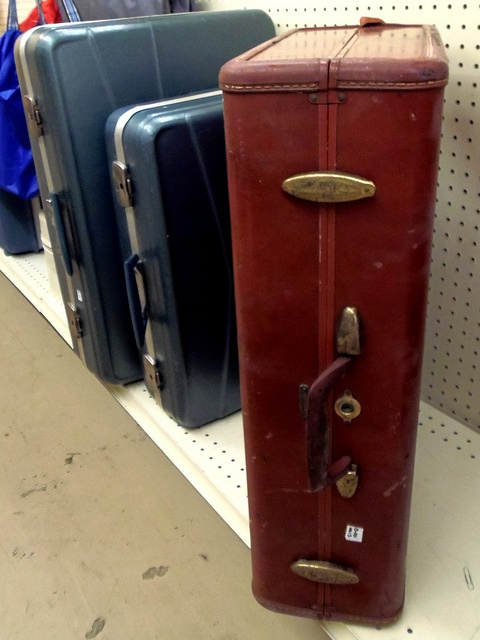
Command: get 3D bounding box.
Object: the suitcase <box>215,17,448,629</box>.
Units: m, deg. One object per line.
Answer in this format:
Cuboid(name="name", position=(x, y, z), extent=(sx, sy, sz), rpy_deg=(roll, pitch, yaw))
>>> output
Cuboid(name="suitcase", position=(0.109, 0.093, 0.810), extent=(0.237, 0.792, 0.129), rpy_deg=(4, 32, 16))
